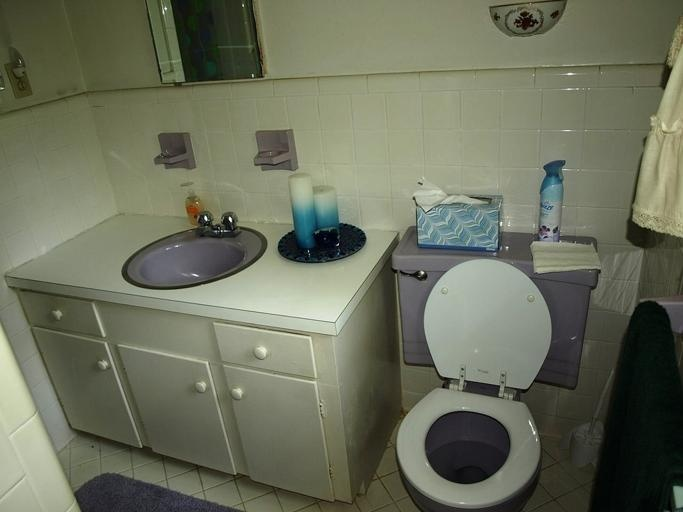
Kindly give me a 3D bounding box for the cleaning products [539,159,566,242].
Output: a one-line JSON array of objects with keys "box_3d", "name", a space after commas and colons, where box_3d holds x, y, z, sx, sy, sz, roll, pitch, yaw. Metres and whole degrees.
[{"box_3d": [0.723, -0.192, 1.745, 0.078, 0.284, 0.057, 8, 27, 21], "name": "cleaning products"}]
